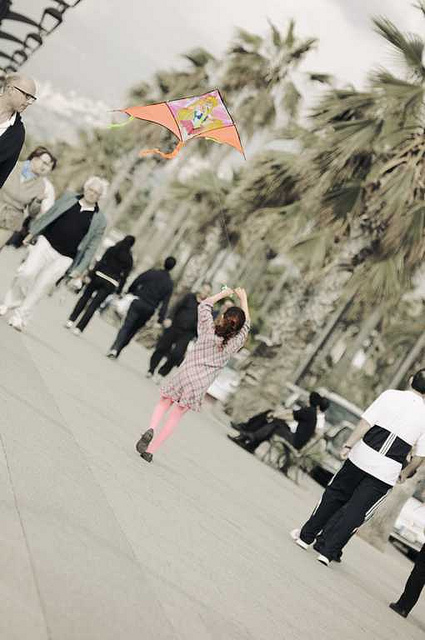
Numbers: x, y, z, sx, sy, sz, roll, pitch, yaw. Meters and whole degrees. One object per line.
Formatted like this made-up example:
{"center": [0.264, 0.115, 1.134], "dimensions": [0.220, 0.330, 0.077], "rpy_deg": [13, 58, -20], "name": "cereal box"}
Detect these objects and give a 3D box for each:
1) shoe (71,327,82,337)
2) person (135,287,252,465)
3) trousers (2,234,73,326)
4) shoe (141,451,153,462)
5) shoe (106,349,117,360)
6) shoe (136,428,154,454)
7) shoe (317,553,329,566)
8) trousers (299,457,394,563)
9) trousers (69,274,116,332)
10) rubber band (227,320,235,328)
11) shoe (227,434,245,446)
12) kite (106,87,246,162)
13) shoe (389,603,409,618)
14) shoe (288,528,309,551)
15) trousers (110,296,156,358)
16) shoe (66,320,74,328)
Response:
{"center": [-2.185, 0.180, 9.559], "dimensions": [0.156, 0.077, 0.195], "rpy_deg": [6, -40, 5], "name": "shoe"}
{"center": [-0.191, 0.431, 4.785], "dimensions": [0.512, 1.730, 0.396], "rpy_deg": [37, 2, -4], "name": "person"}
{"center": [-2.060, -0.483, 6.798], "dimensions": [0.496, 1.177, 0.446], "rpy_deg": [37, 2, -13], "name": "trousers"}
{"center": [-0.515, 1.085, 4.720], "dimensions": [0.100, 0.054, 0.067], "rpy_deg": [35, -15, 8], "name": "shoe"}
{"center": [-1.636, 0.561, 9.610], "dimensions": [0.139, 0.176, 0.063], "rpy_deg": [14, 7, 13], "name": "shoe"}
{"center": [-0.528, 0.951, 4.672], "dimensions": [0.092, 0.233, 0.104], "rpy_deg": [29, -15, -1], "name": "shoe"}
{"center": [0.933, 1.986, 4.903], "dimensions": [0.051, 0.056, 0.131], "rpy_deg": [4, 4, 0], "name": "shoe"}
{"center": [1.103, 1.626, 5.048], "dimensions": [0.435, 1.059, 0.429], "rpy_deg": [38, 2, 19], "name": "trousers"}
{"center": [-1.925, -0.267, 9.287], "dimensions": [0.383, 1.057, 0.552], "rpy_deg": [37, 2, -5], "name": "trousers"}
{"center": [0.153, 0.026, 4.604], "dimensions": [0.060, 0.051, 0.015], "rpy_deg": [0, 1, -6], "name": "rubber band"}
{"center": [0.424, 1.938, 9.867], "dimensions": [0.101, 0.208, 0.280], "rpy_deg": [35, 1, -41], "name": "shoe"}
{"center": [-0.330, -2.903, 8.798], "dimensions": [1.214, 1.189, 1.432], "rpy_deg": [36, 2, 17], "name": "kite"}
{"center": [1.586, 2.421, 4.993], "dimensions": [0.152, 0.100, 0.082], "rpy_deg": [33, -7, 16], "name": "shoe"}
{"center": [0.778, 1.946, 5.266], "dimensions": [0.222, 0.077, 0.099], "rpy_deg": [54, 19, 26], "name": "shoe"}
{"center": [-1.348, 0.160, 9.706], "dimensions": [0.425, 1.045, 0.289], "rpy_deg": [34, -5, -9], "name": "trousers"}
{"center": [-2.321, 0.060, 9.602], "dimensions": [0.114, 0.101, 0.196], "rpy_deg": [11, -4, -18], "name": "shoe"}
